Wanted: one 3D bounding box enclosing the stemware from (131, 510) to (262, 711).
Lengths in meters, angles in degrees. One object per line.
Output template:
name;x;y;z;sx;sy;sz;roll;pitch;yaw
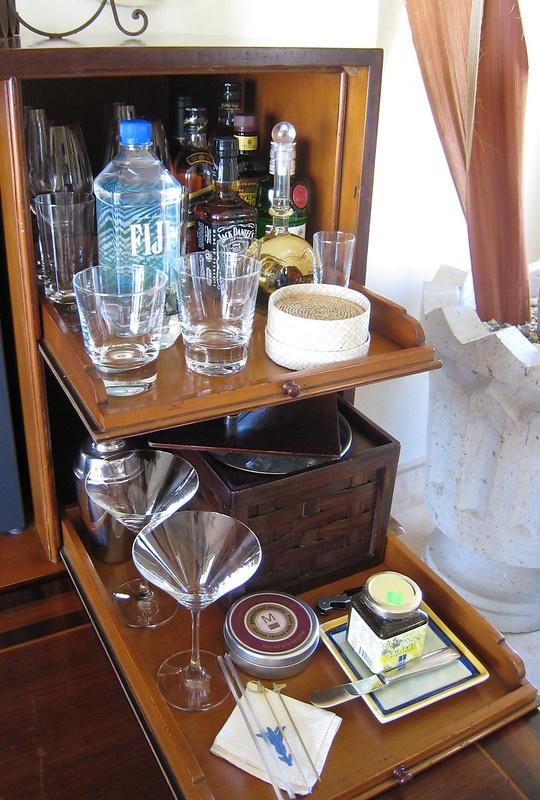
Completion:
stemware;-0.080;0.222;0.707;0.126;0.173;0.162;-9;26;-19

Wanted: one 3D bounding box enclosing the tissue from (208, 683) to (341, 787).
tissue;0.007;0.333;0.633;0.108;0.022;0.099;11;27;23

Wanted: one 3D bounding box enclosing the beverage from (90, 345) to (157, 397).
beverage;-0.132;-0.028;0.590;0.057;0.034;0.050;-6;25;-12

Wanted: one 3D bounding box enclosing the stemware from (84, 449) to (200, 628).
stemware;-0.140;0.171;0.870;0.186;0.216;0.196;2;31;-4

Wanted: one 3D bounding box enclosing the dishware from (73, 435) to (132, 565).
dishware;-0.222;0.137;0.877;0.087;0.172;0.087;7;12;43

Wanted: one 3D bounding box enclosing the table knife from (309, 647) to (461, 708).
table knife;0.127;0.308;0.702;0.183;0.015;0.031;-12;27;-25

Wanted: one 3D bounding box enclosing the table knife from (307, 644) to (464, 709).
table knife;0.127;0.307;0.703;0.197;0.016;0.034;-12;27;-25
